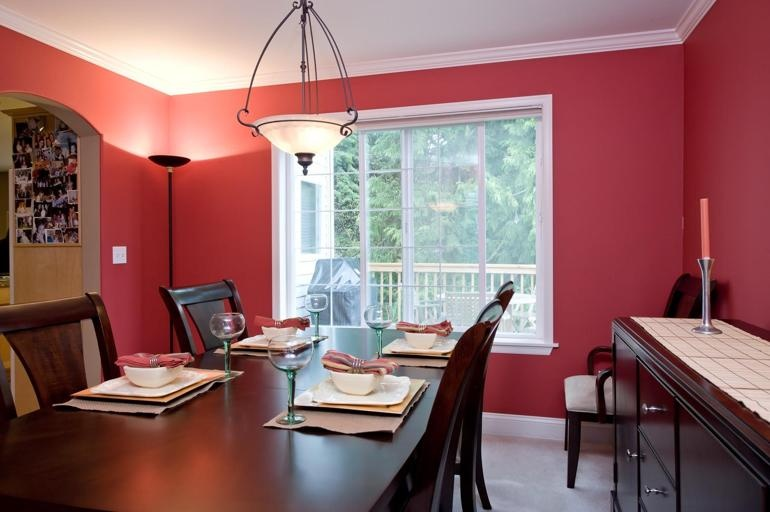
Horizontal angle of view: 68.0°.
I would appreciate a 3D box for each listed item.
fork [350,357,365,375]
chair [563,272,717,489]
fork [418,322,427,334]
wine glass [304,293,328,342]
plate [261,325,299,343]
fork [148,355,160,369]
[{"bbox_3d":[-0.127,0.497,2.590,0.044,0.052,0.134,-1,-8,1],"label":"fork"},{"bbox_3d":[1.681,0.843,3.974,1.048,1.378,1.034,1,4,39],"label":"chair"},{"bbox_3d":[0.216,0.411,3.262,0.035,0.027,0.107,-1,3,9],"label":"fork"},{"bbox_3d":[-0.425,0.367,3.528,0.156,0.284,0.158,2,7,14],"label":"wine glass"},{"bbox_3d":[-0.600,0.425,3.153,0.163,0.111,0.165,-1,-12,3],"label":"plate"},{"bbox_3d":[-1.085,0.489,2.667,0.042,0.022,0.055,-3,6,-39],"label":"fork"}]
